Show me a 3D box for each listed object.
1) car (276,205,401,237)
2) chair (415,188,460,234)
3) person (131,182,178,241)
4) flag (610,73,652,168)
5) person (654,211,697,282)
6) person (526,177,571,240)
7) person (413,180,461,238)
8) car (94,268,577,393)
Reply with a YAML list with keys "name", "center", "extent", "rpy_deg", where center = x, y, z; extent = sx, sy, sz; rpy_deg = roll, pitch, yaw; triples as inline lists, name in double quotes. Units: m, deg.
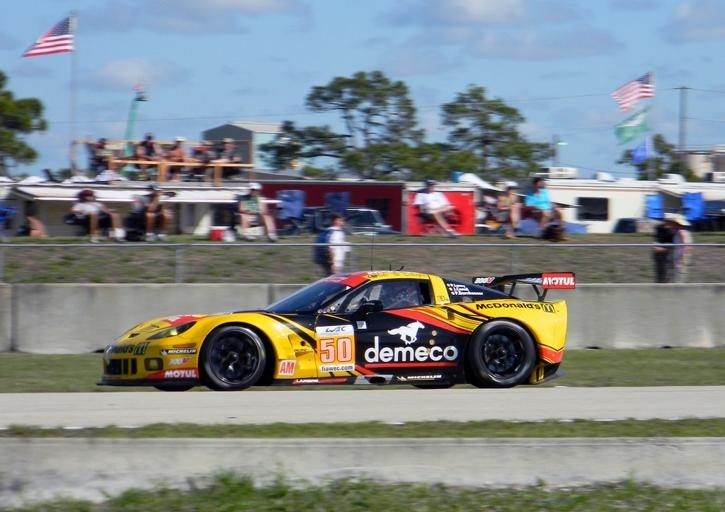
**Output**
- name: "car"
  center: [-0.589, -0.912, 40.929]
  extent: [2.733, 0.640, 1.228]
  rpy_deg: [-2, -1, 29]
- name: "chair"
  center: [1.960, -1.212, 40.074]
  extent: [1.102, 1.340, 2.019]
  rpy_deg: [-2, 3, 2]
- name: "person"
  center: [-5.045, -0.955, 36.181]
  extent: [1.123, 1.495, 1.045]
  rpy_deg: [-10, 6, -26]
- name: "flag"
  center: [8.265, -4.996, 46.073]
  extent: [1.173, 1.199, 1.538]
  rpy_deg: [-1, 4, 8]
- name: "person"
  center: [5.866, -0.143, 28.642]
  extent: [0.701, 1.221, 1.590]
  rpy_deg: [-1, 3, 10]
- name: "person"
  center: [4.495, -1.167, 39.093]
  extent: [1.233, 1.679, 0.945]
  rpy_deg: [-10, 9, -23]
- name: "person"
  center: [2.032, -1.180, 40.493]
  extent: [1.459, 1.471, 1.088]
  rpy_deg: [22, 50, 41]
- name: "car"
  center: [0.052, 1.216, 22.895]
  extent: [9.427, 1.711, 2.415]
  rpy_deg: [0, 0, -1]
